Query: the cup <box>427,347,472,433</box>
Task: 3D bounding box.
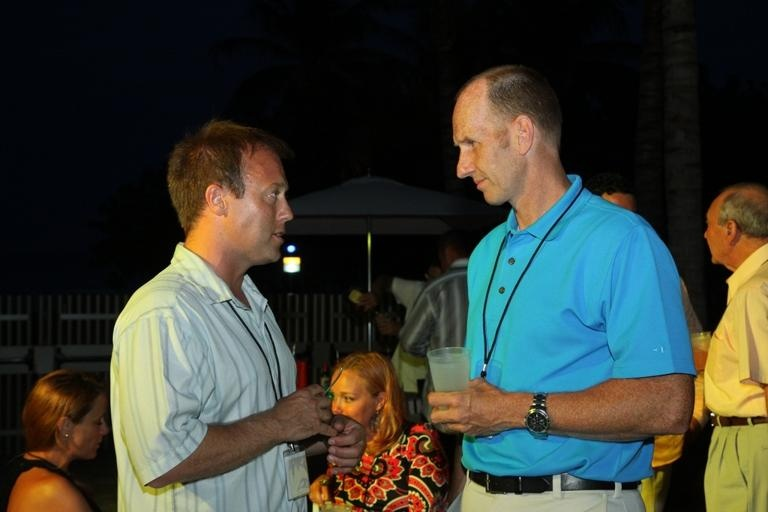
[{"bbox_3d":[0.530,0.945,6.632,0.328,0.397,0.347,-2,-12,0],"label":"cup"}]
